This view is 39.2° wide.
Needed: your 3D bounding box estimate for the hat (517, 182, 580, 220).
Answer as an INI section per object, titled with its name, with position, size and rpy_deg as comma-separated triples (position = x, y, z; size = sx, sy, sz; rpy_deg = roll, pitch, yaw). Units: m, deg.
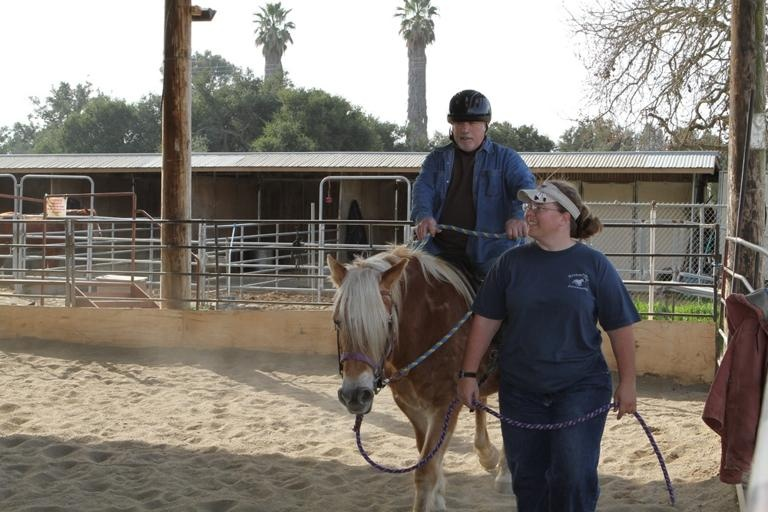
[hat]
position = 1.962, -0.661, 12.827
size = 0.604, 0.251, 0.395
rpy_deg = 26, -5, -10
